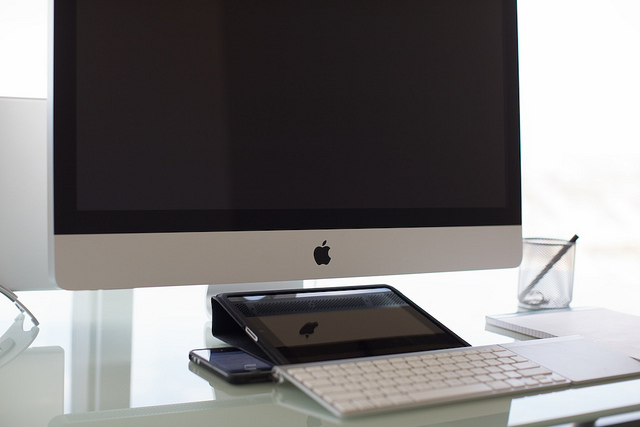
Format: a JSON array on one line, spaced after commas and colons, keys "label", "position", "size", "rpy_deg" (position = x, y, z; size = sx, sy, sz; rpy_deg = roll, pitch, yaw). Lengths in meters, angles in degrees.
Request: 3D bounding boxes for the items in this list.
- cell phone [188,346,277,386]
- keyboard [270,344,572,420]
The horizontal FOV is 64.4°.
[{"label": "cell phone", "position": [-0.198, 0.280, 0.933], "size": [0.085, 0.013, 0.135], "rpy_deg": [8, -50, -26]}, {"label": "keyboard", "position": [0.168, 0.278, 0.846], "size": [0.477, 0.116, 0.115], "rpy_deg": [2, -35, -15]}]
